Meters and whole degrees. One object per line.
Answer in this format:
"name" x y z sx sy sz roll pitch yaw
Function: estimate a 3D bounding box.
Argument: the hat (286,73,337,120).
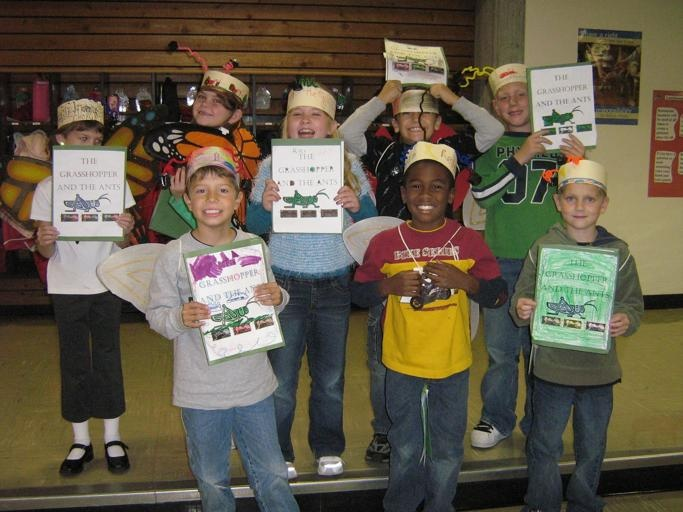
"hat" -0.151 -0.841 3.373 0.259 0.129 0.243 3 -9 29

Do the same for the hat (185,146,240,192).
"hat" -0.613 -0.416 2.961 0.250 0.144 0.203 0 -13 10

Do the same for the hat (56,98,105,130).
"hat" -1.485 -0.815 3.527 0.239 0.113 0.220 -6 14 -23

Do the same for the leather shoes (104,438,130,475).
"leather shoes" -1.252 1.119 3.416 0.094 0.082 0.240 3 6 -35

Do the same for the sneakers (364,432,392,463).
"sneakers" 0.211 1.082 3.501 0.110 0.107 0.266 5 1 -9

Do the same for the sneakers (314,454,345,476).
"sneakers" -0.066 1.131 3.333 0.108 0.047 0.147 1 10 -4

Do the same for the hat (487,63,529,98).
"hat" 1.008 -1.033 3.673 0.253 0.132 0.204 -7 -11 -4

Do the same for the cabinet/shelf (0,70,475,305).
"cabinet/shelf" -1.218 -0.455 5.134 3.335 1.260 1.471 -2 2 1

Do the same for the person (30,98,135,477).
"person" -1.413 0.145 3.477 0.553 2.045 0.655 -5 10 -14

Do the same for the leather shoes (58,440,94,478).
"leather shoes" -1.496 1.116 3.451 0.126 0.099 0.268 4 9 -3

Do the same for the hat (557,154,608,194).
"hat" 1.195 -0.409 3.066 0.208 0.088 0.185 4 -1 -1

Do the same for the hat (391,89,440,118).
"hat" 0.431 -0.869 3.565 0.206 0.096 0.183 -1 10 -14

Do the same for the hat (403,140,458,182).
"hat" 0.469 -0.478 3.181 0.238 0.197 0.144 17 -6 12
